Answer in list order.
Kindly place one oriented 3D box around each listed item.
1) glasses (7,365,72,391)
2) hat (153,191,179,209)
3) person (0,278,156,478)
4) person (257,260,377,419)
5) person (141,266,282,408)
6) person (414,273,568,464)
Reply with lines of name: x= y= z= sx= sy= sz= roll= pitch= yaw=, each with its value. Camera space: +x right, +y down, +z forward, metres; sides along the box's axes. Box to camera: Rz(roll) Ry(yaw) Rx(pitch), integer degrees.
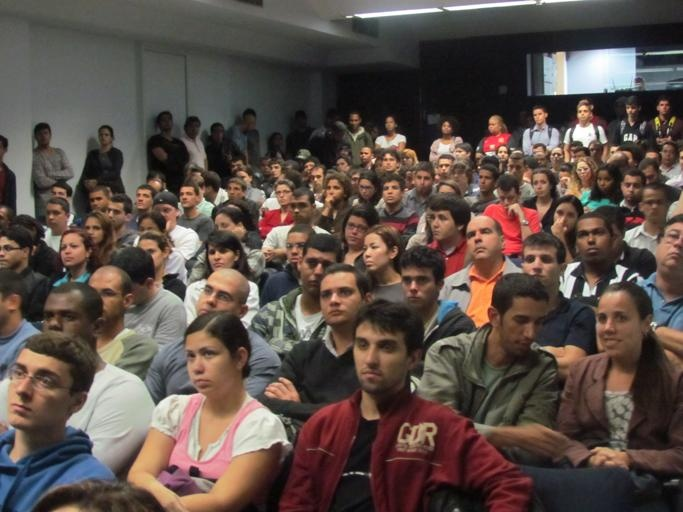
glasses: x=-1.324 y=0.520 z=2.921 sx=0.240 sy=0.109 sz=0.054 roll=1 pitch=13 yaw=12
hat: x=-1.931 y=-0.610 z=7.494 sx=0.205 sy=0.132 sz=0.207 roll=1 pitch=4 yaw=14
person: x=-1.308 y=0.621 z=3.375 sx=0.802 sy=0.870 sz=0.486 roll=-6 pitch=-11 yaw=22
person: x=-0.052 y=0.510 z=3.780 sx=0.655 sy=0.931 sz=0.625 roll=-3 pitch=-8 yaw=20
person: x=-0.825 y=0.556 z=4.168 sx=1.035 sy=0.888 sz=0.526 roll=-4 pitch=-10 yaw=28
person: x=0.768 y=0.590 z=3.438 sx=0.776 sy=0.946 sz=0.768 roll=17 pitch=-9 yaw=-35
